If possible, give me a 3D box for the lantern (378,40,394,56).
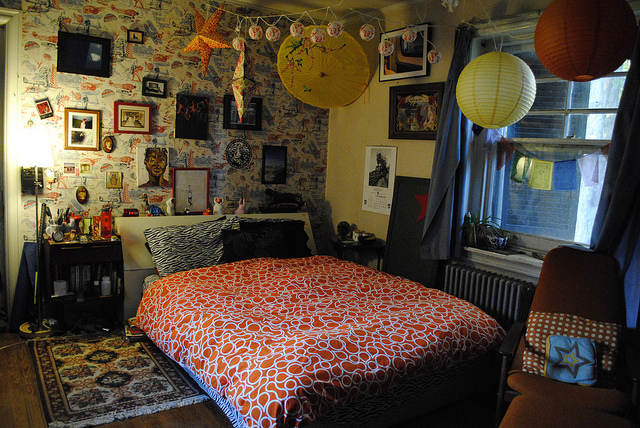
[{"bbox_3d":[0.580,-1.439,3.774,0.103,0.134,0.181,3,8,10],"label":"lantern"}]

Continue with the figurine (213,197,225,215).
[{"bbox_3d":[-1.159,-0.095,4.999,0.126,0.185,0.192,-1,9,-12],"label":"figurine"}]

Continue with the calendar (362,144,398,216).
[{"bbox_3d":[0.698,-0.401,5.086,0.060,0.793,0.465,-7,12,-41],"label":"calendar"}]

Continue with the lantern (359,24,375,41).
[{"bbox_3d":[0.394,-1.492,3.572,0.098,0.132,0.188,3,8,10],"label":"lantern"}]

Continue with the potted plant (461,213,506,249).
[{"bbox_3d":[1.536,0.157,4.296,0.412,0.337,0.382,2,8,-21],"label":"potted plant"}]

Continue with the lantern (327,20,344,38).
[{"bbox_3d":[0.127,-1.491,3.541,0.123,0.135,0.267,1,8,1],"label":"lantern"}]

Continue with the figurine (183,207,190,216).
[{"bbox_3d":[-1.489,-0.027,4.859,0.044,0.099,0.079,-16,-27,42],"label":"figurine"}]

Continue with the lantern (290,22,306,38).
[{"bbox_3d":[-0.179,-1.522,3.602,0.109,0.142,0.174,1,8,-4],"label":"lantern"}]

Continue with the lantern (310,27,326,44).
[{"bbox_3d":[-0.012,-1.443,3.537,0.123,0.126,0.115,0,2,-26],"label":"lantern"}]

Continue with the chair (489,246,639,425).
[{"bbox_3d":[1.946,0.811,3.689,1.101,1.565,1.401,2,8,20],"label":"chair"}]

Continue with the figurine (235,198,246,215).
[{"bbox_3d":[-0.930,-0.091,5.108,0.121,0.179,0.242,0,8,-9],"label":"figurine"}]

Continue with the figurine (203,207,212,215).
[{"bbox_3d":[-1.276,-0.021,4.946,0.066,0.063,0.063,2,-6,-14],"label":"figurine"}]
